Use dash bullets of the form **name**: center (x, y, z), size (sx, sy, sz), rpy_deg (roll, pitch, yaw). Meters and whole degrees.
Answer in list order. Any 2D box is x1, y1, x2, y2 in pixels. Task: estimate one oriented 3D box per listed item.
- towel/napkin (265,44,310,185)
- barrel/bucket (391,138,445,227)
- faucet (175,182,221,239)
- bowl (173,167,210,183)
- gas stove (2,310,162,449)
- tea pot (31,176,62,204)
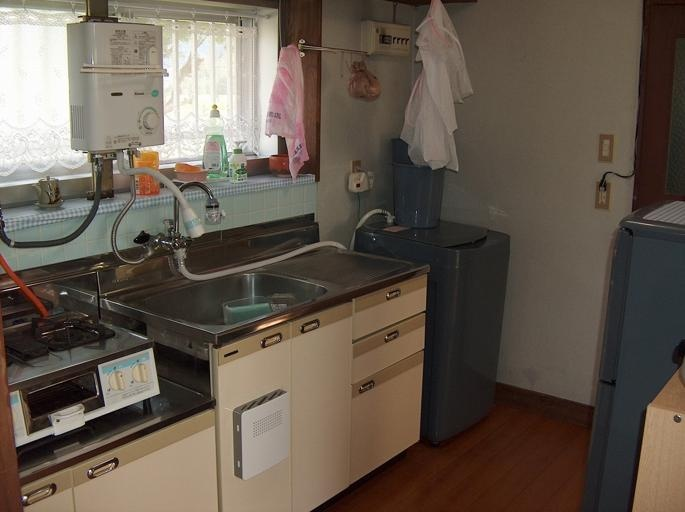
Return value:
- **towel/napkin**: center (-0.287, -0.778, 2.940), size (0.268, 0.689, 0.172), rpy_deg (-12, 19, -28)
- **barrel/bucket**: center (0.460, -0.526, 3.610), size (0.430, 0.719, 0.490), rpy_deg (1, 13, 5)
- **faucet**: center (-0.641, -0.193, 2.356), size (0.230, 0.328, 0.094), rpy_deg (-3, 35, -18)
- **bowl**: center (-0.741, -0.400, 2.681), size (0.121, 0.045, 0.125), rpy_deg (-1, 9, 0)
- **gas stove**: center (-0.879, 0.353, 1.792), size (0.383, 0.198, 0.352), rpy_deg (15, 21, 40)
- **tea pot**: center (-1.200, -0.276, 2.219), size (0.079, 0.127, 0.123), rpy_deg (13, 18, 36)
